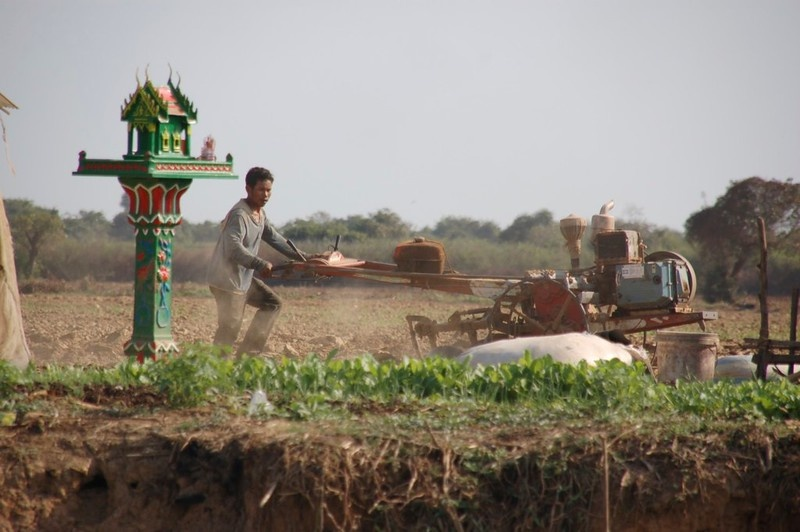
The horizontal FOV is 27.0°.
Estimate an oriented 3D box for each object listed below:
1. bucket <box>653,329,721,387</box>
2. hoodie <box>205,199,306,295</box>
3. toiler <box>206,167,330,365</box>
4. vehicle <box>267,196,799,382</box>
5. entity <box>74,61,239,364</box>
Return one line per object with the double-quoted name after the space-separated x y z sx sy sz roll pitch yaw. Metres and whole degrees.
4.464 1.463 26.197 0.799 0.829 0.838 1 -3 0 "bucket"
-2.272 -0.285 26.368 1.178 1.482 1.309 20 19 29 "hoodie"
-2.252 0.374 28.282 1.975 4.209 2.014 7 14 11 "toiler"
2.937 1.172 27.824 10.499 4.165 3.214 -1 4 6 "vehicle"
-3.587 -0.757 25.248 2.413 4.403 2.445 1 0 -16 "entity"
